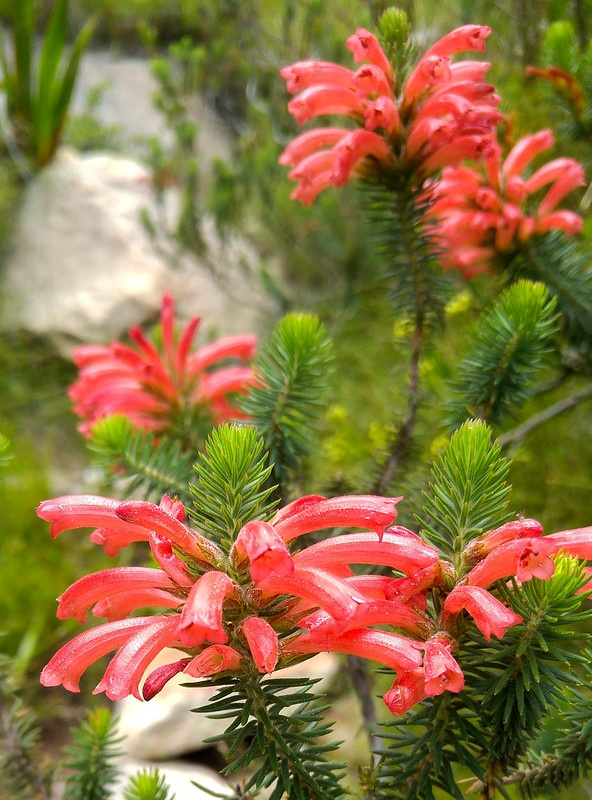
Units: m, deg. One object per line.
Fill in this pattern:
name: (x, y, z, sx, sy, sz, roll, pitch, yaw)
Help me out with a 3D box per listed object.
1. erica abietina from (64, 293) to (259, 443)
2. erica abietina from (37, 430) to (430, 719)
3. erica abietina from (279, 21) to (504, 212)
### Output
erica abietina: (-0.287, -0.028, 2.159, 0.360, 0.340, 0.228, -21, 64, -19)
erica abietina: (-0.076, 0.265, 1.564, 0.511, 0.479, 0.313, -4, 74, -4)
erica abietina: (0.197, -0.487, 1.917, 0.367, 0.228, 0.358, -30, 48, -35)
